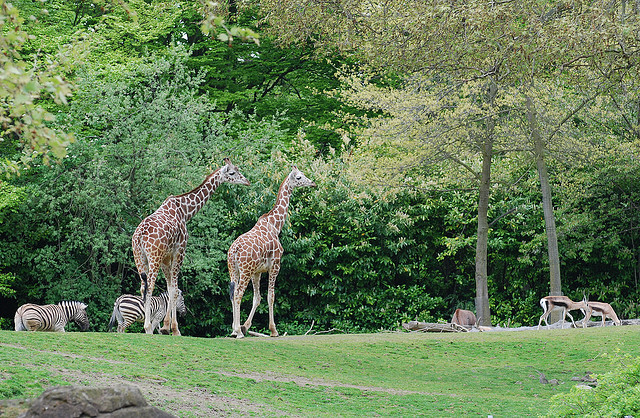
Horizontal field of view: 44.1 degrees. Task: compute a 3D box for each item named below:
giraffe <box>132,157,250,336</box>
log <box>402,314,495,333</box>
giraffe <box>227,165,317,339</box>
[{"bbox_3d":[-3.720,0.656,20.201,2.330,5.442,3.860,2,1,-3],"label":"giraffe"},{"bbox_3d":[3.315,3.432,22.996,1.972,0.282,1.284,8,-4,20],"label":"log"},{"bbox_3d":[-1.385,1.128,21.159,0.975,4.783,2.925,1,0,37],"label":"giraffe"}]
